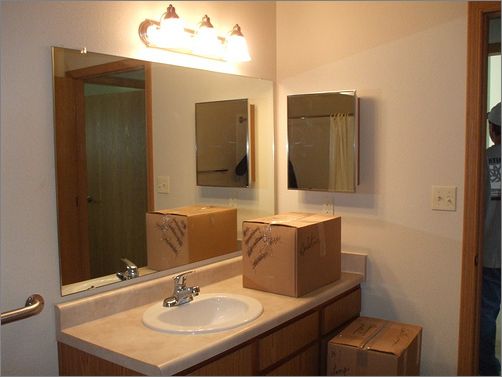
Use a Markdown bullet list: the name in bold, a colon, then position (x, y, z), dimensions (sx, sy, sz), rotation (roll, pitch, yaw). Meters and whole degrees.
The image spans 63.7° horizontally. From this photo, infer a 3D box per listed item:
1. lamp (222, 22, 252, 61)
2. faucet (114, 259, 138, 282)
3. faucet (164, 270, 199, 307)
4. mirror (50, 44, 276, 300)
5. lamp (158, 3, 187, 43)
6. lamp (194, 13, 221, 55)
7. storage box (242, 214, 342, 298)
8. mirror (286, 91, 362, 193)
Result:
- **lamp**: position (-0.081, -0.869, 2.383), dimensions (0.166, 0.215, 0.193), rotation (5, 20, 13)
- **faucet**: position (-0.622, 0.417, 2.048), dimensions (0.059, 0.162, 0.112), rotation (2, 0, 40)
- **faucet**: position (-0.321, 0.513, 2.070), dimensions (0.096, 0.169, 0.216), rotation (-3, -7, 32)
- **mirror**: position (-0.490, -0.068, 2.141), dimensions (0.017, 1.091, 1.339), rotation (0, 2, 32)
- **lamp**: position (-0.418, -0.858, 2.113), dimensions (0.127, 0.196, 0.089), rotation (-1, 8, -14)
- **lamp**: position (-0.233, -0.884, 2.305), dimensions (0.171, 0.270, 0.180), rotation (7, 25, 16)
- **storage box**: position (0.217, 0.269, 2.360), dimensions (0.373, 0.421, 0.525), rotation (0, 1, 39)
- **mirror**: position (0.477, -0.305, 2.549), dimensions (0.548, 0.833, 0.083), rotation (2, 4, 31)
